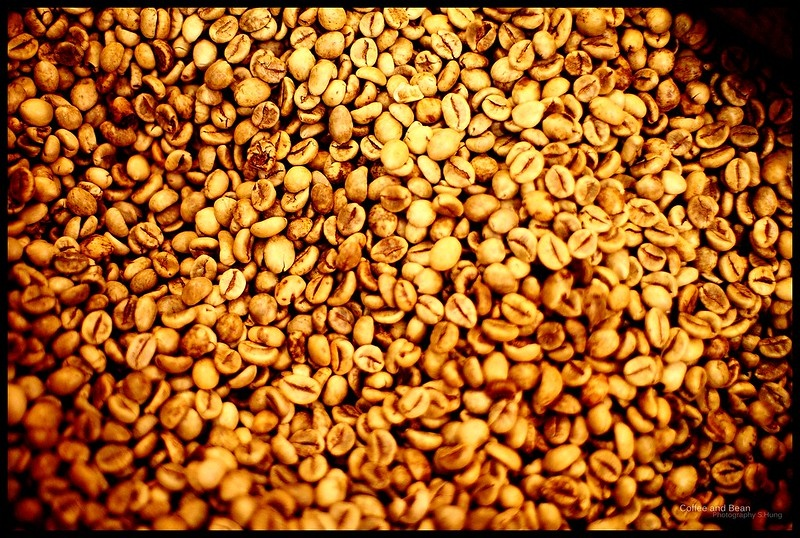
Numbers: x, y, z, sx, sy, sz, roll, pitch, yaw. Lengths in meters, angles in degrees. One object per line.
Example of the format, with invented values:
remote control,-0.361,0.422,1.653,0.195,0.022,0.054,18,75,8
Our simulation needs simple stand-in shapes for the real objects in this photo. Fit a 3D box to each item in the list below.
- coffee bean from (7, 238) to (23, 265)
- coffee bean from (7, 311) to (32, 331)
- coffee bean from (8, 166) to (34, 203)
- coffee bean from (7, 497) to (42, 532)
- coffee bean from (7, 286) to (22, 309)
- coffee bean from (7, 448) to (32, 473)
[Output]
coffee bean,-1.209,-0.059,2.420,0.056,0.032,0.065,-2,92,-16
coffee bean,-1.182,0.164,2.383,0.037,0.037,0.073,-42,96,-8
coffee bean,-1.195,-0.260,2.428,0.069,0.024,0.104,-2,86,0
coffee bean,-1.119,0.732,2.300,0.078,0.040,0.090,-1,86,-14
coffee bean,-1.200,0.094,2.395,0.037,0.018,0.060,-6,65,-18
coffee bean,-1.153,0.574,2.334,0.061,0.026,0.068,-2,64,-16
